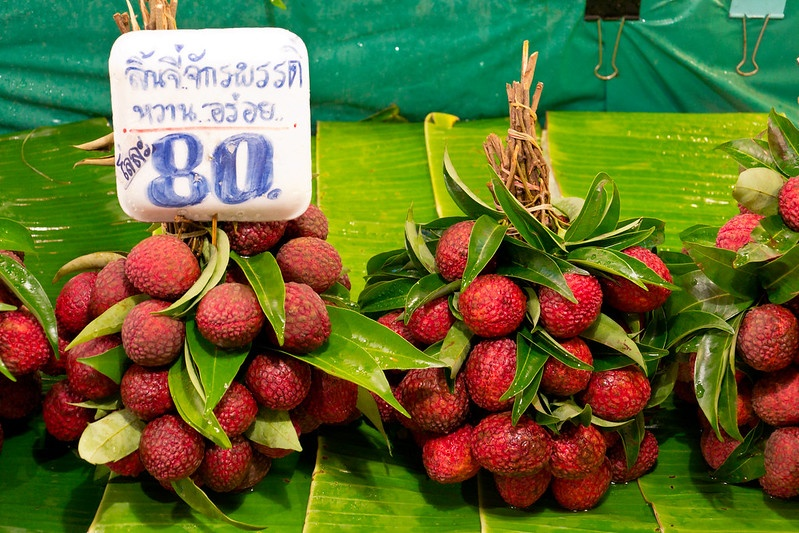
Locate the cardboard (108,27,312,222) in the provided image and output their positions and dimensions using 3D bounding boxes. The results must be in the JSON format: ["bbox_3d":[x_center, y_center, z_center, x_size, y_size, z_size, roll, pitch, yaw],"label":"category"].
[{"bbox_3d":[-0.375,-0.285,1.476,0.362,0.375,0.125,-1,4,-3],"label":"cardboard"}]
